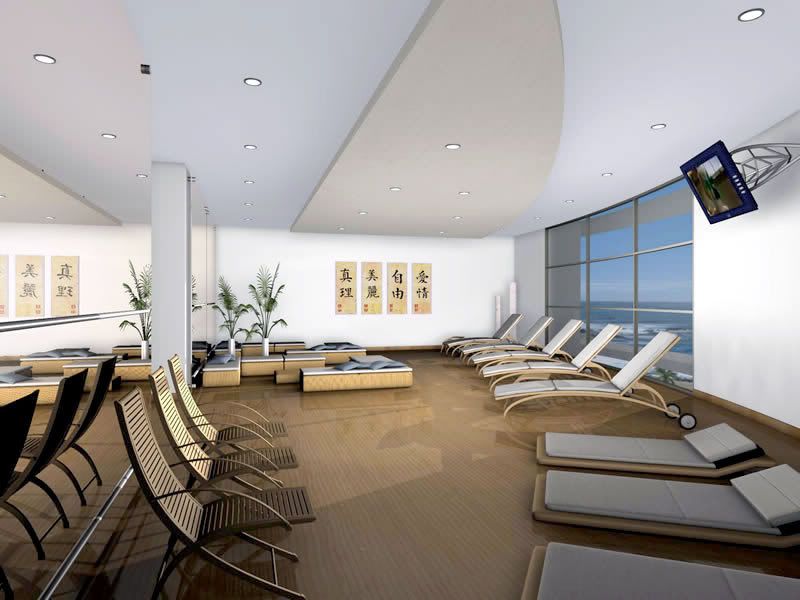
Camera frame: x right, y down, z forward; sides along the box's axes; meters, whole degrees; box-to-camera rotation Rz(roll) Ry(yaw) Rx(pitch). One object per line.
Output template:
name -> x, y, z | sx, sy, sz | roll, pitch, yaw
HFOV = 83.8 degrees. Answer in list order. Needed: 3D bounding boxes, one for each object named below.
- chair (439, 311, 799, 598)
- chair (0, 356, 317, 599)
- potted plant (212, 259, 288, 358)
chair -> 2.007, 1.535, 3.843 | 2.705, 1.048, 1.405 | 0, 3, 1
chair -> -1.424, 1.222, 3.155 | 1.708, 1.145, 1.037 | -1, 1, -11
potted plant -> -3.313, 0.214, 10.813 | 1.989, 2.187, 1.940 | 0, -1, -16
